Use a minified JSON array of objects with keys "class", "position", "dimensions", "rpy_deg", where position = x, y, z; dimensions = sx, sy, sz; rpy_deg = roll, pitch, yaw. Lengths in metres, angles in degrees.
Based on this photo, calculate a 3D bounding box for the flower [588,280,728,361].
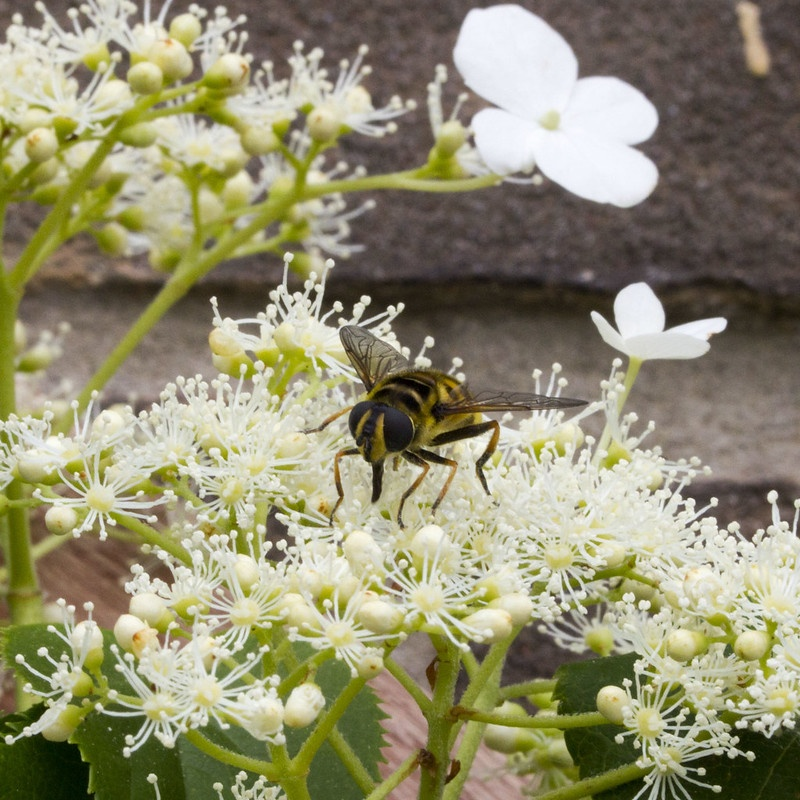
[{"class":"flower","position":[0.196,-0.057,1.500],"dimensions":[0.066,0.028,0.073],"rpy_deg":[29,31,34]}]

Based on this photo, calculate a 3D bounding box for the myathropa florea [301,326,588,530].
[{"class":"myathropa florea","position":[0.017,0.019,1.528],"dimensions":[0.209,0.104,0.161],"rpy_deg":[17,15,37]}]

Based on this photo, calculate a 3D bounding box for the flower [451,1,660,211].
[{"class":"flower","position":[0.101,-0.197,1.447],"dimensions":[0.171,0.109,0.033],"rpy_deg":[31,-27,-2]}]
